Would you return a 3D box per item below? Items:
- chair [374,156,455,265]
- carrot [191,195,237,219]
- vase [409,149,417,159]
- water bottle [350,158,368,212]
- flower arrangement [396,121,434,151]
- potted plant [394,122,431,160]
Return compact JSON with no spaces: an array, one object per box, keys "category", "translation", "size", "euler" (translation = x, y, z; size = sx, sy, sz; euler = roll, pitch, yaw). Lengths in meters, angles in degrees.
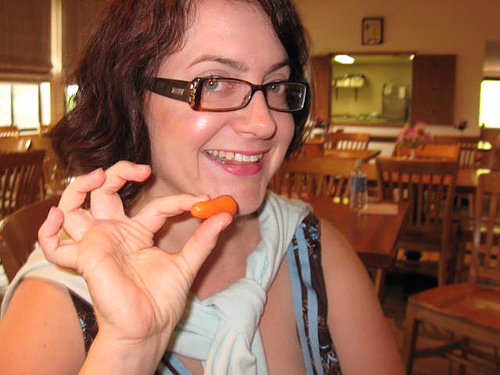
[{"category":"chair","translation":[1.374,0.196,3.515],"size":[0.644,1.111,0.735],"euler":[-1,20,16]},{"category":"carrot","translation":[-0.072,0.037,0.862],"size":[0.085,0.043,0.035],"euler":[0,-15,-31]},{"category":"vase","translation":[1.755,-0.377,4.619],"size":[0.087,0.109,0.095],"euler":[-3,7,9]},{"category":"water bottle","translation":[0.657,-0.009,2.565],"size":[0.088,0.289,0.092],"euler":[0,2,0]},{"category":"flower arrangement","translation":[1.710,-0.548,4.495],"size":[0.323,0.374,0.339],"euler":[0,6,-1]},{"category":"potted plant","translation":[1.753,-0.463,4.552],"size":[0.320,0.346,0.306],"euler":[4,15,-26]}]
